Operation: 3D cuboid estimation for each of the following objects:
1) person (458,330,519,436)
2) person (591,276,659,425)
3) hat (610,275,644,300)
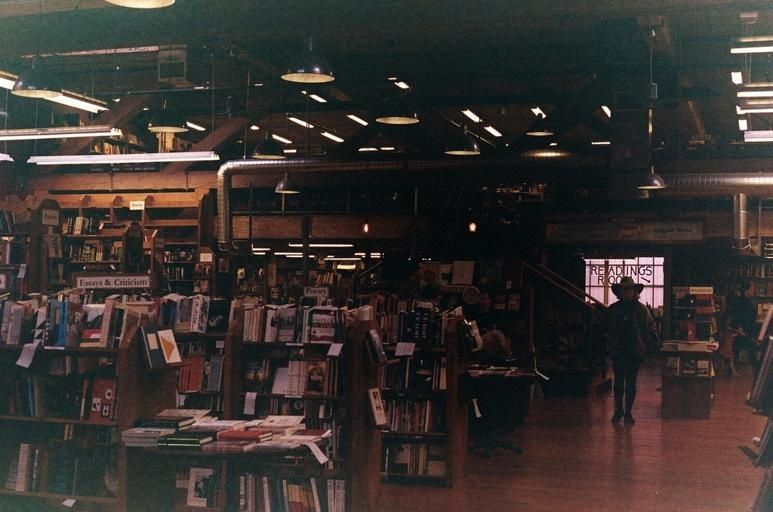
[{"bbox_3d":[1.610,2.024,13.743,0.505,1.439,1.156,1,1,21],"label":"person"},{"bbox_3d":[4.024,1.601,14.883,0.701,2.475,0.422,-2,-2,13],"label":"person"},{"bbox_3d":[4.681,0.611,17.413,0.726,0.284,0.760,1,-26,12],"label":"hat"}]
